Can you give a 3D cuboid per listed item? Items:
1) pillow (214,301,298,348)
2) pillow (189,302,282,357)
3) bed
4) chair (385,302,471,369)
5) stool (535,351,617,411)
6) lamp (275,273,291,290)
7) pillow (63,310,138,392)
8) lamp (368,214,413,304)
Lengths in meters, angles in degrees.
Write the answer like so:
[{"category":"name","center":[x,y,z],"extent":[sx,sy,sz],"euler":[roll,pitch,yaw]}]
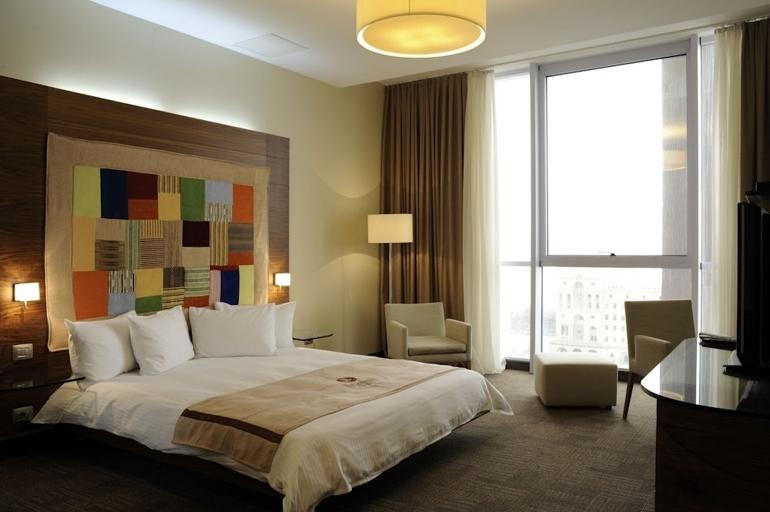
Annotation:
[{"category":"pillow","center":[-1.442,0.753,5.813],"extent":[0.489,0.387,0.168],"euler":[10,-26,-43]},{"category":"pillow","center":[-1.652,0.823,5.759],"extent":[0.925,0.601,0.328],"euler":[0,-11,-12]},{"category":"bed","center":[-0.893,1.355,4.754],"extent":[3.716,0.589,2.153],"euler":[4,13,16]},{"category":"chair","center":[0.527,1.038,6.925],"extent":[1.080,0.911,1.147],"euler":[-1,-2,7]},{"category":"stool","center":[2.110,1.366,5.822],"extent":[0.637,0.443,0.649],"euler":[-1,-3,6]},{"category":"lamp","center":[-1.282,0.304,6.661],"extent":[0.184,0.133,0.187],"euler":[1,1,7]},{"category":"pillow","center":[-2.674,0.885,5.049],"extent":[0.311,0.556,0.692],"euler":[-2,-2,15]},{"category":"lamp","center":[0.076,0.057,7.755],"extent":[0.668,1.396,0.683],"euler":[0,12,2]}]
